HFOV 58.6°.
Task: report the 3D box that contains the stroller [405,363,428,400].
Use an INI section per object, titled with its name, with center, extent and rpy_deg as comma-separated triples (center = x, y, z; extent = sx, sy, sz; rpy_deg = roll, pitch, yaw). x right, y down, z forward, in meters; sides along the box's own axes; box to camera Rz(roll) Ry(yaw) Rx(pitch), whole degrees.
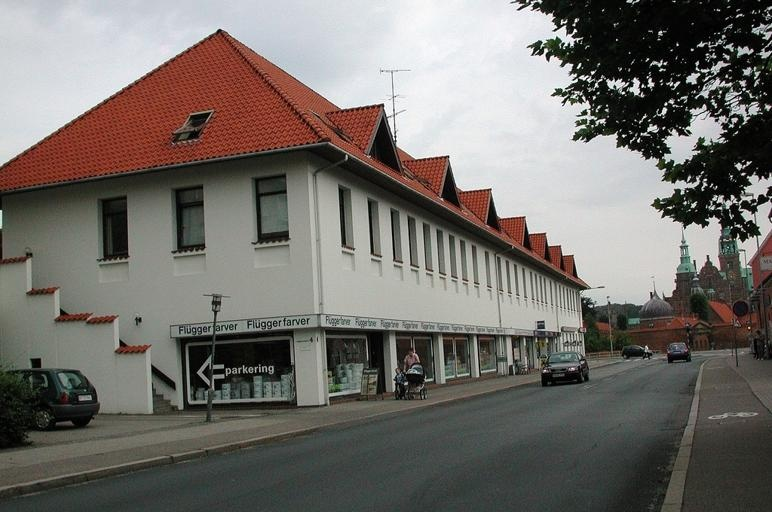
[stroller]
center = 1.242, 5.172, 28.341
extent = 0.800, 1.476, 0.722
rpy_deg = -5, -10, 2

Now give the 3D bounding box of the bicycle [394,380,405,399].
[bicycle]
center = 0.595, 5.562, 28.269
extent = 0.530, 1.028, 0.575
rpy_deg = 0, -7, 6

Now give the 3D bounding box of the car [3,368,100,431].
[car]
center = -10.004, 4.403, 21.340
extent = 1.957, 1.923, 1.125
rpy_deg = 1, -12, -28
